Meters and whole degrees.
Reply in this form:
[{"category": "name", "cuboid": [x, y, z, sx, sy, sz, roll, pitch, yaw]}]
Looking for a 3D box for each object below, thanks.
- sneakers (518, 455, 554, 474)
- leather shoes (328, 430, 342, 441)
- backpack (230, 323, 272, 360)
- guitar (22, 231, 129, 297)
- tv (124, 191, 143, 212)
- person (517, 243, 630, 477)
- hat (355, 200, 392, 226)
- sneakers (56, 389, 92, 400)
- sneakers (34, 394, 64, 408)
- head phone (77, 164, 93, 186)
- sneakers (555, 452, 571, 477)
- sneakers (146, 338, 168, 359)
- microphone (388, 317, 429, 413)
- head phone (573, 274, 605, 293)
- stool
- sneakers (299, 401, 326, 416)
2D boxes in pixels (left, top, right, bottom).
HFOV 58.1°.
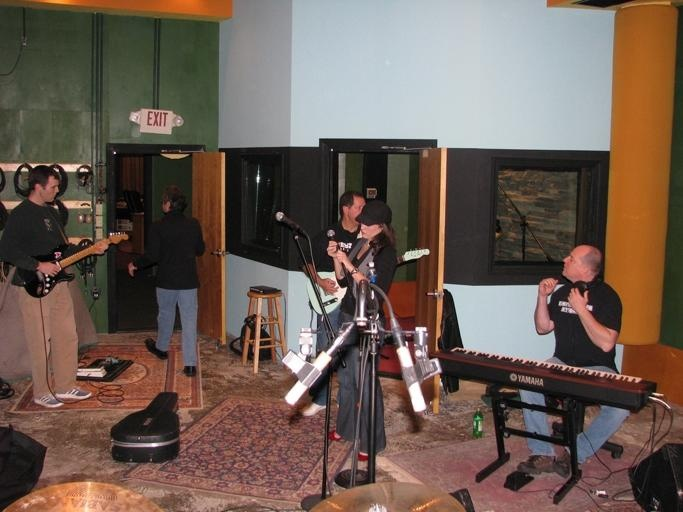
[{"category": "sneakers", "cuboid": [1.552, 1.724, 5.134, 0.369, 0.150, 0.124, 5, 1, -8]}, {"category": "leather shoes", "cuboid": [-0.067, 1.633, 5.615, 0.154, 0.039, 0.072, 5, 6, -25]}, {"category": "backpack", "cuboid": [-1.186, 1.132, 7.767, 0.413, 0.565, 0.184, -3, 3, -3]}, {"category": "guitar", "cuboid": [-2.781, 0.046, 6.703, 0.710, 0.493, 1.552, -2, 9, -2]}, {"category": "tv", "cuboid": [-4.810, -1.263, 14.339, 0.528, 0.492, 0.138, 3, 11, 19]}, {"category": "person", "cuboid": [1.958, 0.877, 5.334, 0.968, 1.929, 0.990, -2, 1, 21]}, {"category": "hat", "cuboid": [0.248, -0.310, 4.733, 0.236, 0.132, 0.173, 4, 28, -24]}, {"category": "sneakers", "cuboid": [-2.733, 1.413, 6.304, 0.332, 0.137, 0.123, 0, 3, -14]}, {"category": "sneakers", "cuboid": [-2.924, 1.439, 6.138, 0.240, 0.101, 0.123, 3, 6, 5]}, {"category": "head phone", "cuboid": [-3.434, -1.081, 8.212, 0.197, 0.278, 0.115, 0, -1, -13]}, {"category": "sneakers", "cuboid": [1.830, 1.739, 5.142, 0.078, 0.093, 0.218, 0, 11, 7]}, {"category": "sneakers", "cuboid": [-2.343, 1.162, 7.695, 0.148, 0.181, 0.416, -13, 34, -41]}, {"category": "microphone", "cuboid": [0.350, 0.603, 3.300, 0.119, 0.675, 0.122, -13, -32, -1]}, {"category": "head phone", "cuboid": [2.115, 0.237, 5.357, 0.153, 0.110, 0.204, 2, 7, 17]}, {"category": "stool", "cuboid": [-0.957, 0.836, 7.452, 0.532, 0.934, 0.730, -5, 10, -18]}, {"category": "sneakers", "cuboid": [-0.285, 1.493, 6.092, 0.262, 0.106, 0.120, 1, -2, -34]}]
